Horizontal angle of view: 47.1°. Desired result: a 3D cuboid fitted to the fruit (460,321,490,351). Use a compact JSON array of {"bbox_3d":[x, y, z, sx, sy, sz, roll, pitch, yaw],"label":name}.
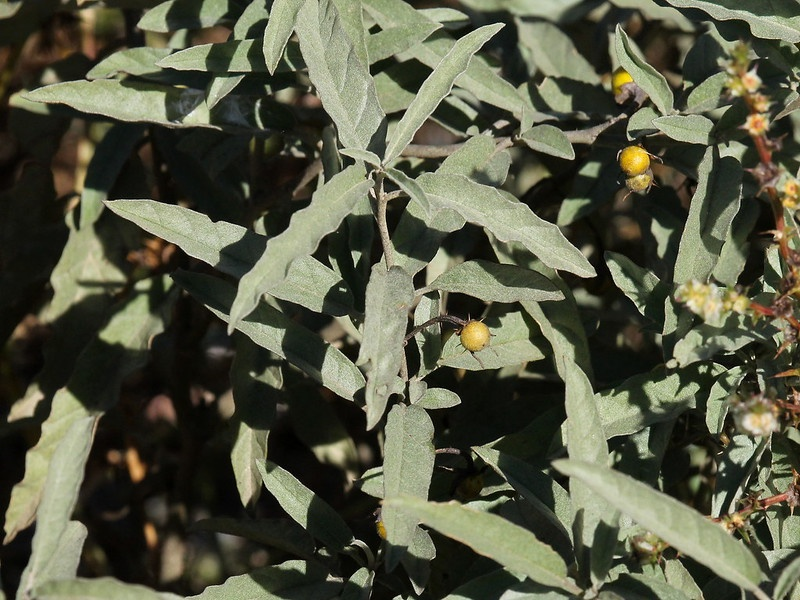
[{"bbox_3d":[0.072,0.034,0.874,0.026,0.027,0.033,-5,51,1],"label":"fruit"}]
